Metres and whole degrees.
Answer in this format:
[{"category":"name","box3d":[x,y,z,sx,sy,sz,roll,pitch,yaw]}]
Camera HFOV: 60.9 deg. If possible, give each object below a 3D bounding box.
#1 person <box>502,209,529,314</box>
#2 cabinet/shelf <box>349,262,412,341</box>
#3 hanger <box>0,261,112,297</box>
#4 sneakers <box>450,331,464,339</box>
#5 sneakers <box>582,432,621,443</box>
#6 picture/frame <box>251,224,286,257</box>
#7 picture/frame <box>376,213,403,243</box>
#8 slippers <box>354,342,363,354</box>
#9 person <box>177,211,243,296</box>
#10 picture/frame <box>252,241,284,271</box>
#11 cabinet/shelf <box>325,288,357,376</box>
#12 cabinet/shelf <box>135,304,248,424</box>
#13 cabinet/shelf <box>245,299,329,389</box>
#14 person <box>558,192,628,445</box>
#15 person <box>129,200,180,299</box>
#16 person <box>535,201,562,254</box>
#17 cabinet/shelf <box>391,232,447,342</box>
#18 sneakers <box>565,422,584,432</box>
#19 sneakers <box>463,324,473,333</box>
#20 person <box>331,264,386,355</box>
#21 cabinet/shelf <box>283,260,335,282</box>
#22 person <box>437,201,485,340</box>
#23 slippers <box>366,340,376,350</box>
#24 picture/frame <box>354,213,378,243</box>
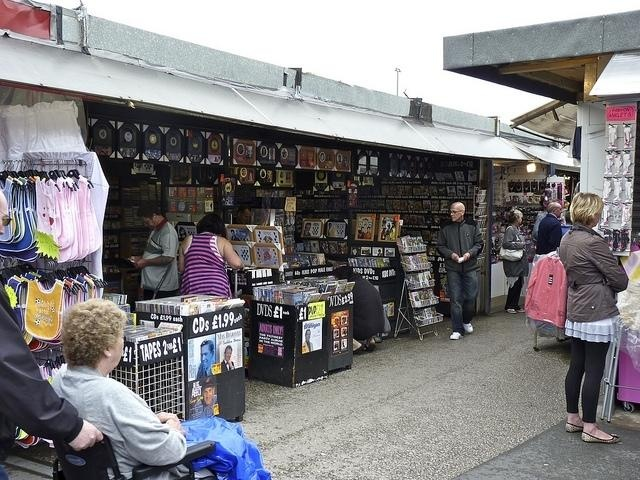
[{"category":"person","box3d":[4.120,0.467,11.629,0.552,2.203,0.767,1,4,22]},{"category":"cabinet/shelf","box3d":[0.991,0.819,9.490,0.987,1.170,1.016,9,-14,12]},{"category":"hanger","box3d":[-2.351,0.335,4.781,0.372,0.184,0.536,2,-1,38]},{"category":"sneakers","box3d":[2.310,1.643,9.337,0.092,0.112,0.256,-3,-8,30]},{"category":"sneakers","box3d":[2.666,1.884,5.203,0.319,0.109,0.135,-7,-2,8]},{"category":"picture/frame","box3d":[-0.735,0.016,7.515,0.382,0.388,0.032,4,6,32]},{"category":"picture/frame","box3d":[1.183,-0.200,9.524,0.460,0.680,0.047,1,-11,37]},{"category":"slippers","box3d":[0.584,1.666,8.446,0.142,0.193,0.141,-3,5,-10]},{"category":"person","box3d":[-1.409,0.189,6.602,0.857,0.986,0.610,1,4,22]},{"category":"picture/frame","box3d":[-0.706,0.211,7.475,0.320,0.287,0.026,9,17,28]},{"category":"cabinet/shelf","box3d":[0.243,1.258,7.375,0.162,1.112,0.615,2,4,34]},{"category":"cabinet/shelf","box3d":[-1.291,1.316,5.742,0.558,1.269,0.802,-1,0,35]},{"category":"cabinet/shelf","box3d":[-0.399,1.326,7.235,0.754,1.064,0.969,1,0,22]},{"category":"person","box3d":[2.586,0.741,5.244,0.496,2.381,0.417,0,3,0]},{"category":"person","box3d":[-2.224,0.168,7.346,0.610,1.324,0.446,0,3,-4]},{"category":"person","box3d":[4.062,-0.197,9.706,0.415,0.912,1.325,1,4,22]},{"category":"cabinet/shelf","box3d":[1.740,0.810,9.555,0.739,1.696,0.606,-4,5,-39]},{"category":"sneakers","box3d":[2.546,1.869,5.464,0.198,0.093,0.071,-4,5,-38]},{"category":"sneakers","box3d":[2.630,1.576,9.715,0.097,0.128,0.293,1,7,21]},{"category":"person","box3d":[0.574,1.017,8.376,0.642,1.362,0.889,-8,-9,0]},{"category":"cabinet/shelf","box3d":[-0.180,0.482,8.377,0.260,0.195,1.162,3,5,36]},{"category":"person","box3d":[2.397,0.530,9.297,0.753,2.329,0.599,-2,4,-25]},{"category":"slippers","box3d":[0.790,1.664,8.643,0.138,0.155,0.137,10,-22,-35]},{"category":"picture/frame","box3d":[0.817,-0.195,9.699,0.405,0.547,0.035,5,-2,34]}]
